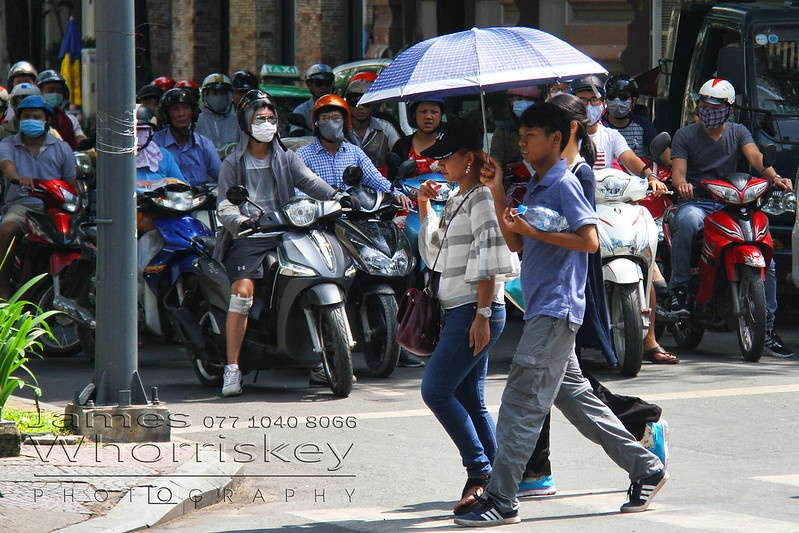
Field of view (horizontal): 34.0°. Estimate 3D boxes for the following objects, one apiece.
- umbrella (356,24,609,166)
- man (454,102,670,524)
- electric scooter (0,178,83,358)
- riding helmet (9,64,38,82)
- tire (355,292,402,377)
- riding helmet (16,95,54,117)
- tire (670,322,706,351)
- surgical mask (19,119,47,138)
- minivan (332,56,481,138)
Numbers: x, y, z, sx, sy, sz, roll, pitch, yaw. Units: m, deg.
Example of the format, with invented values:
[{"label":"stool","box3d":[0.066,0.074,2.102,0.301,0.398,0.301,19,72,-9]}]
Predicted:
[{"label":"umbrella","box3d":[0.845,-1.489,11.442,1.471,0.809,1.324,-10,8,12]},{"label":"man","box3d":[1.126,0.339,9.490,1.421,3.049,0.518,0,5,0]},{"label":"electric scooter","box3d":[-3.919,0.051,14.622,1.150,2.027,0.715,2,5,23]},{"label":"riding helmet","box3d":[-5.040,-2.673,17.655,0.306,0.297,0.388,-2,-3,-15]},{"label":"tire","box3d":[-0.188,0.663,13.209,0.291,0.877,0.992,-1,4,-24]},{"label":"riding helmet","box3d":[-4.133,-1.858,14.901,0.253,0.299,0.256,4,11,-7]},{"label":"tire","box3d":[3.349,0.811,15.096,0.149,0.365,0.390,2,0,-21]},{"label":"surgical mask","box3d":[-4.128,-1.570,14.788,0.246,0.164,0.224,1,-2,-3]},{"label":"minivan","box3d":[-0.128,-2.508,18.923,2.074,0.914,0.959,1,7,10]}]
